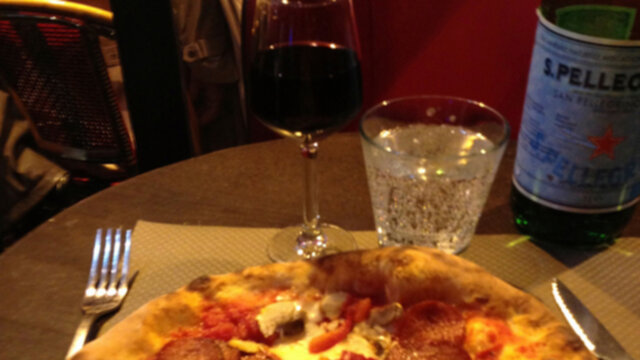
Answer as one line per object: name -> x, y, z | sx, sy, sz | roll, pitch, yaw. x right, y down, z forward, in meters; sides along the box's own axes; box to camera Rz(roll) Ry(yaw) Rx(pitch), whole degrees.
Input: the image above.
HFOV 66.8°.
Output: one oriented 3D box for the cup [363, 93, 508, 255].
cup -> 0.163, 0.004, 0.728 | 0.207, 0.185, 0.219 | 1, 20, 0
